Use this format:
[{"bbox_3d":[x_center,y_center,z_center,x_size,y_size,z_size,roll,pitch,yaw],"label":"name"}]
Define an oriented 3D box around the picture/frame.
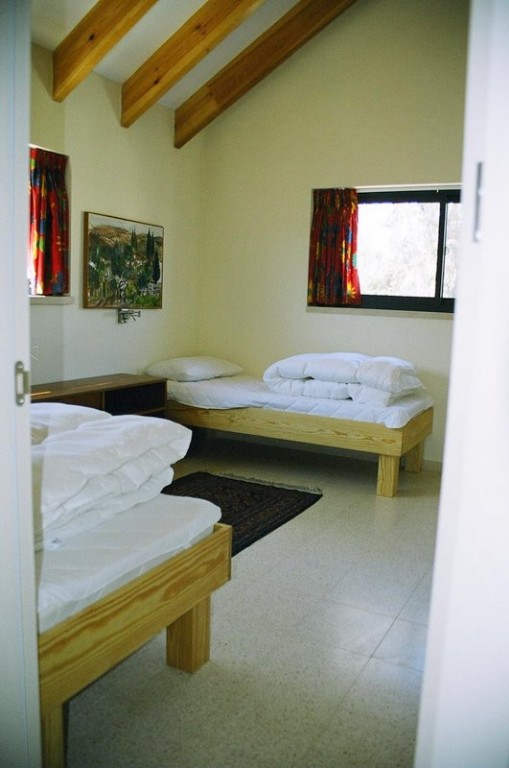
[{"bbox_3d":[-0.860,-0.786,3.603,0.712,0.574,0.021,11,14,31],"label":"picture/frame"}]
